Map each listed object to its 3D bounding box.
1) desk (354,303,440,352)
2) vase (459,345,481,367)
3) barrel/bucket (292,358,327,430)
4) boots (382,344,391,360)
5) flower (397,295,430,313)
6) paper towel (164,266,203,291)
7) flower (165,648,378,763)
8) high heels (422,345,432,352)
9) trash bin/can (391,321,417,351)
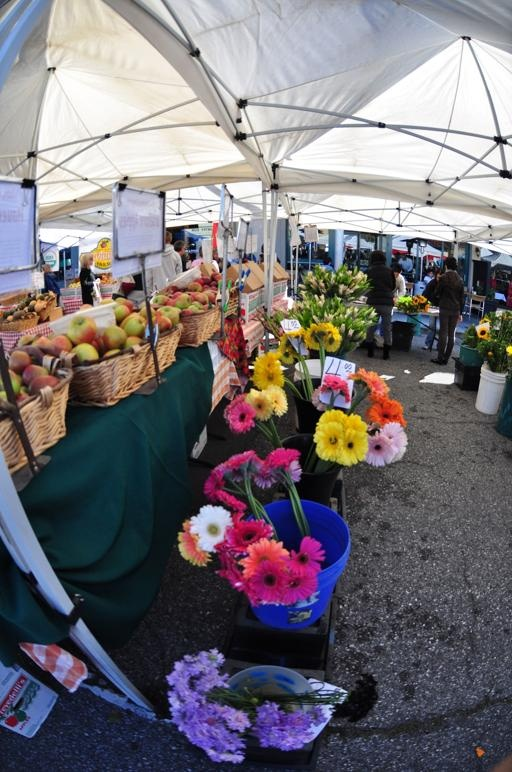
[{"bbox_3d":[2.989,-1.267,9.161,1.124,0.770,0.548,9,10,40],"label":"desk"},{"bbox_3d":[2.686,-0.367,5.952,0.256,0.187,0.263,10,22,23],"label":"vase"},{"bbox_3d":[0.268,0.044,2.655,0.209,0.400,0.234,3,7,6],"label":"barrel/bucket"},{"bbox_3d":[2.208,-0.567,8.035,0.126,0.250,0.256,-5,51,16],"label":"boots"},{"bbox_3d":[2.920,-1.482,8.880,0.391,0.238,0.393,-2,-1,14],"label":"flower"},{"bbox_3d":[-0.571,-0.788,3.633,0.229,0.072,0.182,1,37,47],"label":"paper towel"},{"bbox_3d":[0.008,0.841,1.251,0.429,0.249,0.250,7,17,18],"label":"flower"},{"bbox_3d":[3.221,-0.688,8.939,0.100,0.123,0.285,-6,6,8],"label":"high heels"},{"bbox_3d":[2.690,-0.935,8.776,0.469,0.610,0.574,4,24,15],"label":"trash bin/can"}]
